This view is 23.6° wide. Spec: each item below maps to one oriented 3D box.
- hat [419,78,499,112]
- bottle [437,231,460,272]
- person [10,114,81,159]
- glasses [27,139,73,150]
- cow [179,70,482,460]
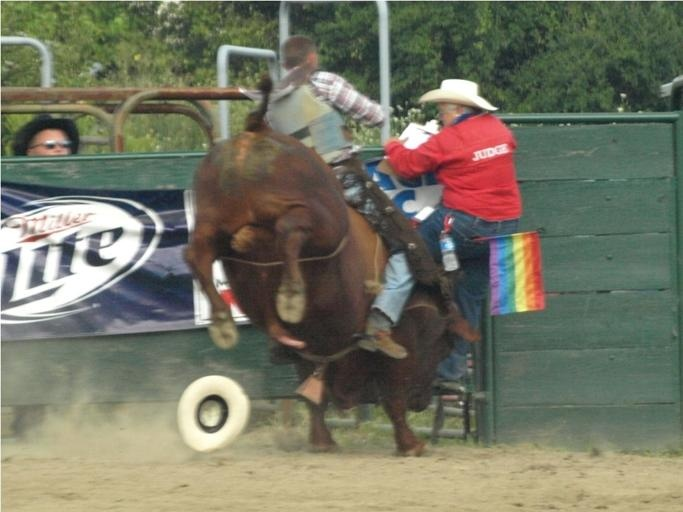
[{"bbox_3d":[1.340,-1.718,17.784,0.678,0.224,0.590,-4,0,26],"label":"hat"},{"bbox_3d":[1.122,-0.071,17.483,0.205,0.157,0.560,-7,57,-14],"label":"bottle"},{"bbox_3d":[-3.462,-1.427,19.434,0.752,0.534,0.586,-6,15,-22],"label":"person"},{"bbox_3d":[-3.419,-1.332,19.295,0.489,0.114,0.143,-4,15,-12],"label":"glasses"},{"bbox_3d":[-0.325,0.212,16.796,2.528,4.145,0.937,-12,19,-35],"label":"cow"}]
